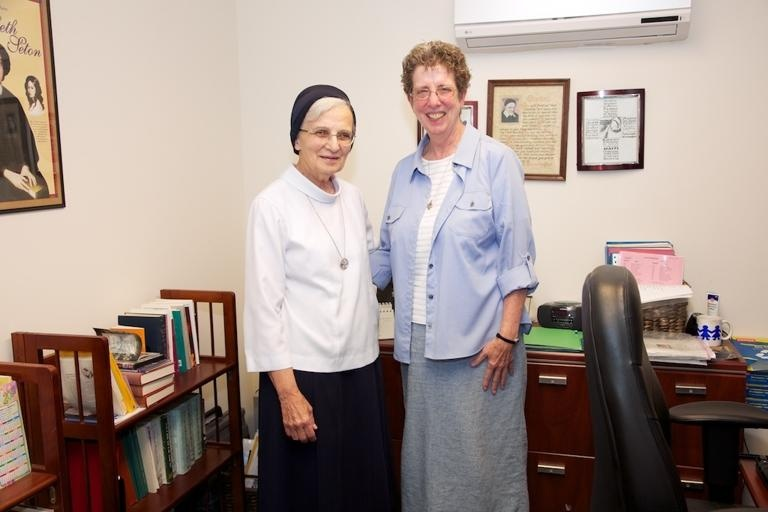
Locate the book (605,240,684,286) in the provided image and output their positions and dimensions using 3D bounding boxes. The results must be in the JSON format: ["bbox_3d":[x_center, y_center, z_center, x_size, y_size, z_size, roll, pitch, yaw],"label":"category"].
[{"bbox_3d":[1.389,0.045,3.055,0.361,0.389,0.116,-1,-19,12],"label":"book"}]

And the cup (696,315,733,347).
[{"bbox_3d":[1.683,0.386,2.943,0.204,0.168,0.136,1,1,23],"label":"cup"}]

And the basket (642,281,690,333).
[{"bbox_3d":[1.458,0.268,2.976,0.303,0.243,0.300,-4,-3,33],"label":"basket"}]

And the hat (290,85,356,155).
[{"bbox_3d":[-0.264,-0.587,2.436,0.214,0.310,0.277,8,-5,-14],"label":"hat"}]

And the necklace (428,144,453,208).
[{"bbox_3d":[0.239,-0.329,2.445,0.149,0.206,0.059,-3,-9,39],"label":"necklace"}]

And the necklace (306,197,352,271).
[{"bbox_3d":[-0.218,-0.101,2.375,0.115,0.400,0.032,-10,-15,-17],"label":"necklace"}]

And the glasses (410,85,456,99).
[{"bbox_3d":[0.206,-0.689,2.377,0.168,0.046,0.034,1,7,9],"label":"glasses"}]

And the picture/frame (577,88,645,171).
[{"bbox_3d":[1.267,-0.717,3.129,0.428,0.562,0.042,0,1,11],"label":"picture/frame"}]
